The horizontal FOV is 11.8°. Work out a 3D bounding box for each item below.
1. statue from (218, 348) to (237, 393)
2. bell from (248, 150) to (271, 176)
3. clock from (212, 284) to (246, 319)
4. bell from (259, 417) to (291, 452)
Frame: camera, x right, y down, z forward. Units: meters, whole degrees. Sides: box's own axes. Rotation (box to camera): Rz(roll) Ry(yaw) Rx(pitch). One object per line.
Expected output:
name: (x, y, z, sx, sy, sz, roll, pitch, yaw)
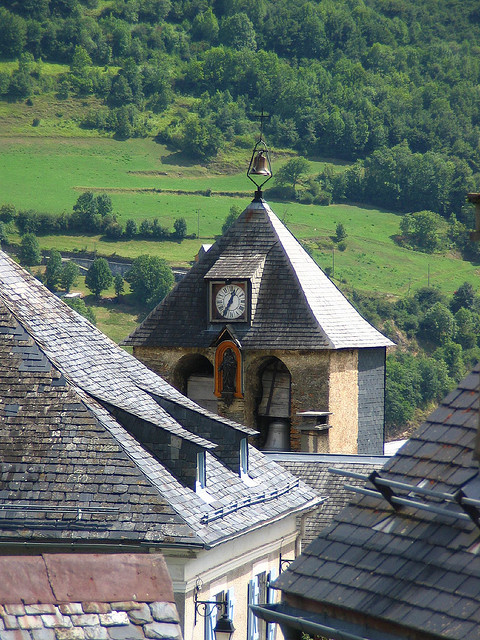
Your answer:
statue: (-0.377, 1.206, 53.357, 0.523, 1.005, 0.164, 15, 17, 42)
bell: (0.413, -3.674, 54.400, 0.493, 0.640, 0.495, 4, -6, -43)
clock: (-0.378, -0.400, 53.693, 0.685, 0.808, 0.198, 0, -4, 14)
bell: (0.723, 2.671, 53.680, 0.621, 0.847, 0.724, 2, -5, 4)
